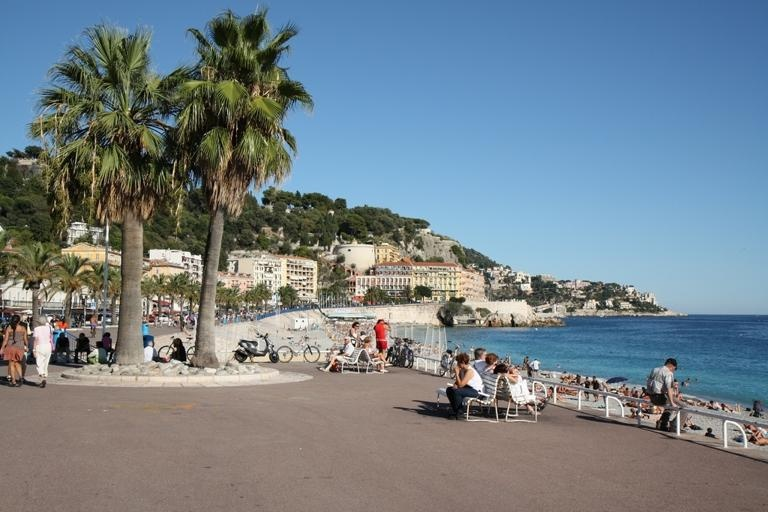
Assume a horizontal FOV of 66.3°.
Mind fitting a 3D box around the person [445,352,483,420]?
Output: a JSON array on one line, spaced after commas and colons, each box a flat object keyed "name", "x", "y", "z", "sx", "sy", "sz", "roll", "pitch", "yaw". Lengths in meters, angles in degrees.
[{"name": "person", "x": 1.877, "y": 3.001, "z": 13.719, "sx": 0.829, "sy": 1.416, "sz": 0.663, "roll": 3, "pitch": -5, "yaw": -13}]

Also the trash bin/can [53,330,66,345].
[{"name": "trash bin/can", "x": -12.803, "y": 3.192, "z": 22.977, "sx": 0.418, "sy": 0.529, "sz": 0.562, "roll": 5, "pitch": -6, "yaw": -29}]

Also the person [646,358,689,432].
[{"name": "person", "x": 6.293, "y": 3.110, "z": 13.225, "sx": 0.656, "sy": 1.579, "sz": 1.076, "roll": -1, "pitch": -6, "yaw": 24}]

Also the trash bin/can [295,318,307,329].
[{"name": "trash bin/can", "x": -12.479, "y": 10.295, "z": 87.835, "sx": 1.824, "sy": 1.425, "sz": 1.832, "roll": -7, "pitch": 8, "yaw": -27}]

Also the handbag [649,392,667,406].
[{"name": "handbag", "x": 6.196, "y": 3.217, "z": 13.203, "sx": 0.289, "sy": 0.111, "sz": 0.255, "roll": -4, "pitch": -7, "yaw": 44}]

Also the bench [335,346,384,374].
[{"name": "bench", "x": -0.996, "y": 3.992, "z": 22.087, "sx": 1.241, "sy": 0.620, "sz": 1.264, "roll": 0, "pitch": -4, "yaw": -6}]

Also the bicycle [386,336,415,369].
[{"name": "bicycle", "x": 0.809, "y": 4.199, "z": 25.251, "sx": 0.793, "sy": 0.943, "sz": 1.555, "roll": 6, "pitch": -7, "yaw": -28}]
